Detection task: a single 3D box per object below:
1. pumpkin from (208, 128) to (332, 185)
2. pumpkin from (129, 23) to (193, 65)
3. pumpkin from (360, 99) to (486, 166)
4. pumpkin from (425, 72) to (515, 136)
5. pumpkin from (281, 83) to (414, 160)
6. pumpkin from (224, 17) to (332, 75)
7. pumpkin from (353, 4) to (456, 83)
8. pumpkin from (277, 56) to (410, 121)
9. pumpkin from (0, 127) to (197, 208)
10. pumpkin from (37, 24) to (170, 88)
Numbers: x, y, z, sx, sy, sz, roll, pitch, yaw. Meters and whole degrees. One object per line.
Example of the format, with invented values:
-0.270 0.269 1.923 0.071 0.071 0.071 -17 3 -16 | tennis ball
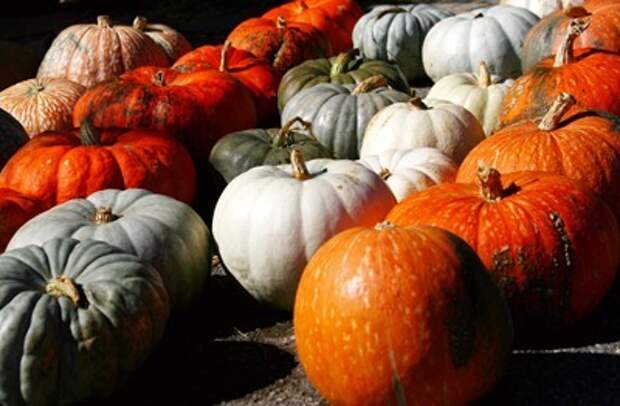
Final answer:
-0.355 -0.416 4.625 0.605 0.342 0.622 -7 11 -23 | pumpkin
-1.831 -1.956 7.068 0.589 0.584 0.599 5 19 23 | pumpkin
0.899 -0.583 4.609 0.688 0.510 0.669 -7 2 -2 | pumpkin
1.545 -0.900 5.527 0.678 0.620 0.696 17 15 36 | pumpkin
0.250 -0.786 5.142 0.869 0.456 0.807 -9 11 -22 | pumpkin
-0.272 -1.688 6.934 0.875 0.655 0.875 13 12 22 | pumpkin
1.070 -2.015 7.454 1.097 0.780 1.046 1 17 2 | pumpkin
0.285 -1.115 6.058 0.805 0.573 0.808 3 15 12 | pumpkin
-1.547 -0.277 4.337 0.861 0.650 0.873 4 -1 0 | pumpkin
-2.339 -1.513 6.607 0.966 0.713 0.948 -8 4 -18 | pumpkin
